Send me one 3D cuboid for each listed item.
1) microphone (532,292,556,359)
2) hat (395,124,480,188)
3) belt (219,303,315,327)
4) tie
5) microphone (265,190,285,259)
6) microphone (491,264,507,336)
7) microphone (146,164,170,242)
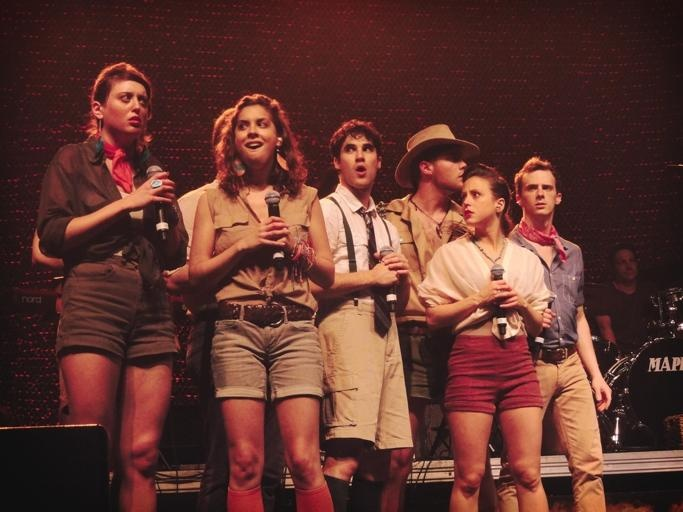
[{"bbox_3d":[1.168,0.416,3.879,0.056,0.401,0.073,13,-3,-35],"label":"microphone"},{"bbox_3d":[0.596,-0.694,4.500,0.506,0.211,0.414,-29,-38,26],"label":"hat"},{"bbox_3d":[-0.367,0.292,3.290,0.465,0.127,0.088,1,-14,-7],"label":"belt"},{"bbox_3d":[0.207,0.089,3.805,0.150,0.753,0.208,-1,-14,1],"label":"tie"},{"bbox_3d":[-0.334,-0.158,3.368,0.102,0.373,0.172,2,-14,-11],"label":"microphone"},{"bbox_3d":[0.859,0.242,3.641,0.067,0.420,0.071,-3,-14,11],"label":"microphone"},{"bbox_3d":[-0.899,-0.282,3.294,0.121,0.402,0.198,3,-14,-17],"label":"microphone"}]
